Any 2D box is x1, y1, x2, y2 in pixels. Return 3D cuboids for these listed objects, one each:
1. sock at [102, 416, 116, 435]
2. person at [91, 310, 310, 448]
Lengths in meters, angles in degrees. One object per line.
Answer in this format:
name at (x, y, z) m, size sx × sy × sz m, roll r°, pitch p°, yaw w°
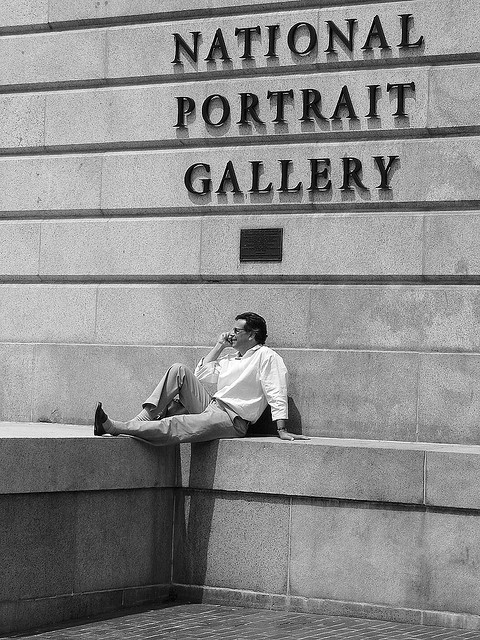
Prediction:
sock at (-0.915, 0.740, 5.526) m, size 0.085 × 0.100 × 0.188 m, roll 8°, pitch -26°, yaw -18°
person at (-0.246, 0.566, 6.386) m, size 1.244 × 1.218 × 1.166 m, roll 6°, pitch -7°, yaw -24°
